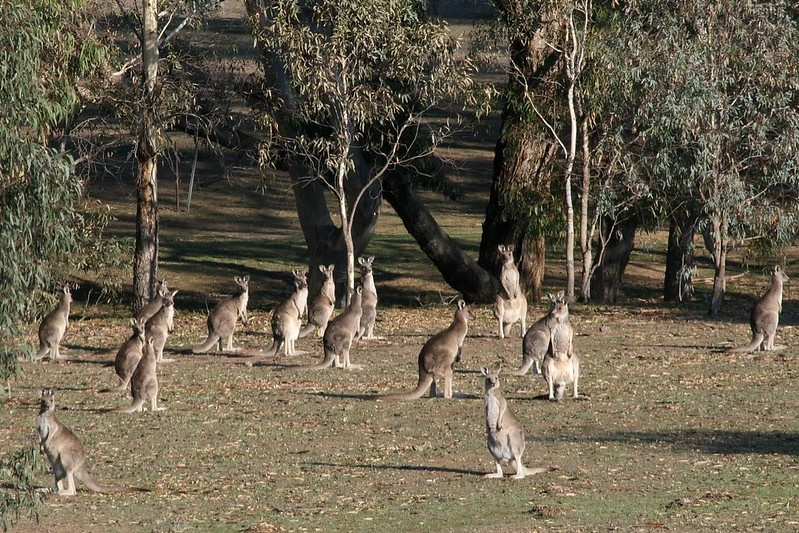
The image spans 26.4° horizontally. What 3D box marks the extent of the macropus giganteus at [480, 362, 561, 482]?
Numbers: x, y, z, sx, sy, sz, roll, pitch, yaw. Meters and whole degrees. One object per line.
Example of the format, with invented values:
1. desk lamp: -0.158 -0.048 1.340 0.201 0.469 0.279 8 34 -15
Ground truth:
1. macropus giganteus: 1.987 2.787 30.493 1.041 1.985 0.682 -2 6 -31

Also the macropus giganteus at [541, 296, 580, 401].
1. macropus giganteus: 3.180 1.520 33.643 0.668 2.207 1.096 -3 0 8

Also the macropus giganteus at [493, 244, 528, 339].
1. macropus giganteus: 2.576 0.554 39.389 0.691 2.142 1.058 -2 -3 -8
